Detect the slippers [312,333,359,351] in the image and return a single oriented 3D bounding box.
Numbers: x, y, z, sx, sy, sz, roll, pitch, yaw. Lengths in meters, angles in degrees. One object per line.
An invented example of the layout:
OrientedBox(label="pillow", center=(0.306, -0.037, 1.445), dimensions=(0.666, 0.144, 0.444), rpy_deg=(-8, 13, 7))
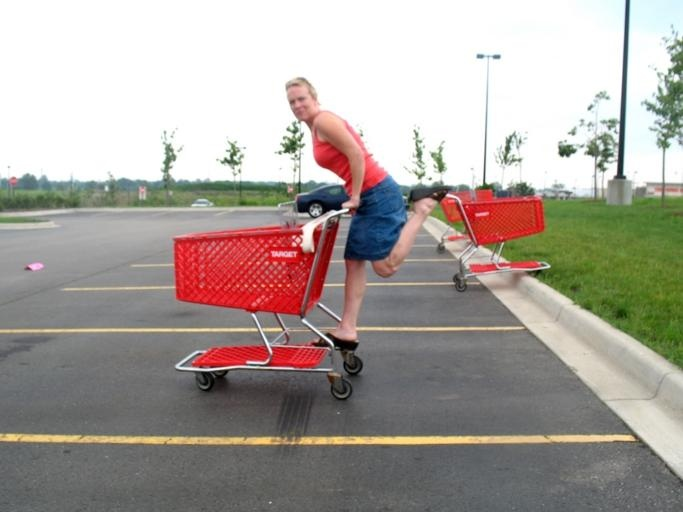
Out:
OrientedBox(label="slippers", center=(-0.064, 0.713, 4.797), dimensions=(0.415, 0.140, 0.162), rpy_deg=(3, -6, 8))

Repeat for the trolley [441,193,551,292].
OrientedBox(label="trolley", center=(2.266, -0.282, 8.831), dimensions=(1.983, 1.955, 1.119), rpy_deg=(-4, 7, 0))
